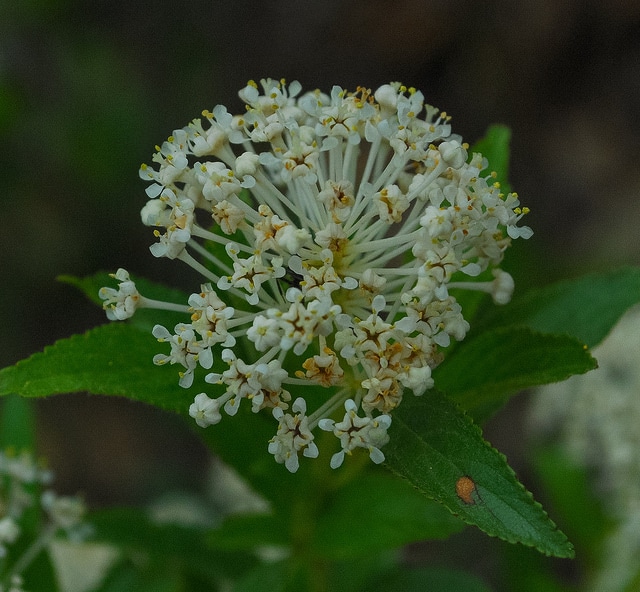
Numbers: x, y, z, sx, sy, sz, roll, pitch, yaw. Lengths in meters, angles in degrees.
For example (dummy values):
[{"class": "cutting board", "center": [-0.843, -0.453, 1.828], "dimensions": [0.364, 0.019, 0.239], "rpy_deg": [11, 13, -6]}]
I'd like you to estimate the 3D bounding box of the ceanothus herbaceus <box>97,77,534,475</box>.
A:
[{"class": "ceanothus herbaceus", "center": [0.075, -0.057, 1.968], "dimensions": [0.829, 0.923, 0.796], "rpy_deg": [0, 16, -35]}]
